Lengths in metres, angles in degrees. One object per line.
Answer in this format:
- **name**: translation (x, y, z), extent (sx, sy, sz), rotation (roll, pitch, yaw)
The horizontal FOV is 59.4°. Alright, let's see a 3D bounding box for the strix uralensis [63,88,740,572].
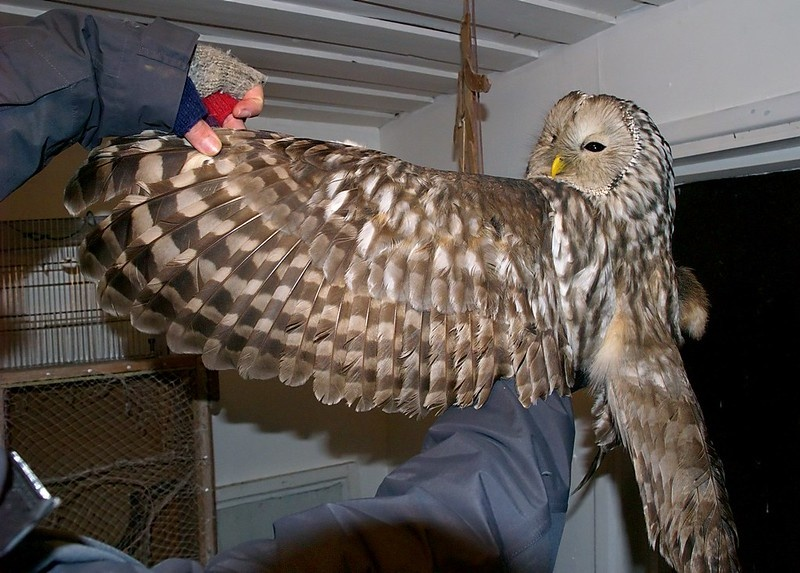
- **strix uralensis**: translation (0.014, 0.496, 2.280), extent (2.007, 1.154, 0.822), rotation (4, -33, -7)
